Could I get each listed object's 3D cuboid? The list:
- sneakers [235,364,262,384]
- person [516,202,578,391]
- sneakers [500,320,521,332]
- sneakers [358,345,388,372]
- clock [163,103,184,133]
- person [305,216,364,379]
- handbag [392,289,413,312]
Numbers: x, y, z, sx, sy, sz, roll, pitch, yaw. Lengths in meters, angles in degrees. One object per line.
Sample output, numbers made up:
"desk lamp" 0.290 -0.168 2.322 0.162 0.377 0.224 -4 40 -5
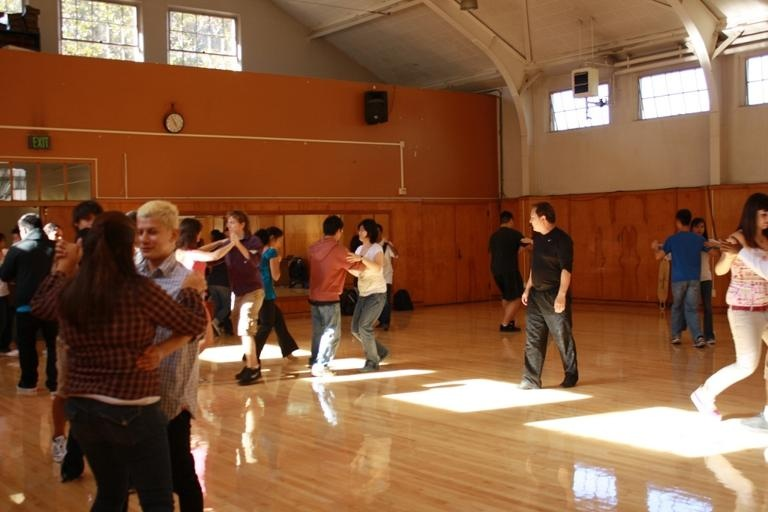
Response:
"sneakers" -1.750 1.539 7.480 0.300 0.132 0.171 1 1 -25
"person" 1.914 0.472 6.725 0.646 2.220 0.629 0 2 18
"sneakers" 2.356 1.295 10.616 0.445 0.221 0.160 0 -1 -17
"sneakers" -0.097 1.406 7.939 0.177 0.252 0.558 -9 3 32
"clock" -4.187 -2.747 11.446 0.402 0.589 0.081 -3 3 -27
"person" -0.670 0.543 7.475 0.571 2.135 0.751 -2 2 -10
"handbag" 0.429 1.048 13.544 0.483 0.539 0.369 -2 0 33
